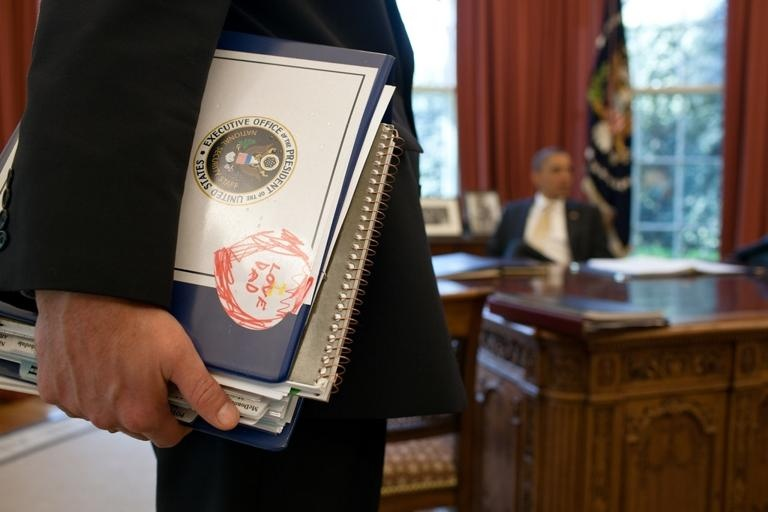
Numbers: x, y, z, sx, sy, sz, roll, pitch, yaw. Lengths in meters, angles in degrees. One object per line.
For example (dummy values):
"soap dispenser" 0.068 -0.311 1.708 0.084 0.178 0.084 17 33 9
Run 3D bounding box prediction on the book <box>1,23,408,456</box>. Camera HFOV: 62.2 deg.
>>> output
"book" -0.161 -0.026 0.816 0.526 0.575 0.134 5 -18 8
